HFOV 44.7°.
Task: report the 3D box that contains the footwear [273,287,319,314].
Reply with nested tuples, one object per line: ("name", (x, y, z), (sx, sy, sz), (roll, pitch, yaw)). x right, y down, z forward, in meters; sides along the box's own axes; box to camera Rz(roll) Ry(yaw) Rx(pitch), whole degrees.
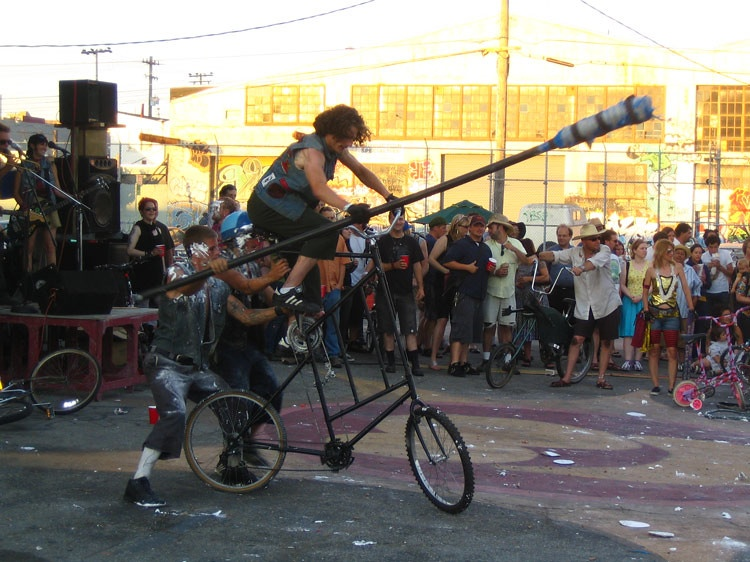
("footwear", (-0.610, 0.169, 7.685), (0.461, 0.224, 0.167), (10, 7, 9))

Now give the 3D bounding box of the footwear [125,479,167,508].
("footwear", (-1.793, 1.693, 7.280), (0.401, 0.195, 0.153), (2, -4, 20))

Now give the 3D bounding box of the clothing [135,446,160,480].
("clothing", (-1.849, 1.468, 7.360), (0.212, 0.270, 0.136), (1, 4, -9))

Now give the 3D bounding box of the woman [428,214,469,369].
("woman", (1.321, 0.189, 13.362), (0.700, 2.413, 0.751), (-9, -4, 8))

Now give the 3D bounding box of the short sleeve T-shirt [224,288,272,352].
("short sleeve T-shirt", (-1.121, 0.352, 7.919), (0.349, 0.666, 0.517), (3, 3, 30))

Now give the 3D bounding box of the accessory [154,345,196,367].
("accessory", (-1.673, 0.638, 7.542), (0.236, 0.075, 0.180), (23, -5, -3))

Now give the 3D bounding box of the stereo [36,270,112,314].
("stereo", (-3.485, 0.107, 10.678), (0.773, 0.541, 0.764), (1, 5, -27))

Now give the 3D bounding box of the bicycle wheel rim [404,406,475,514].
("bicycle wheel rim", (0.516, 1.425, 7.357), (0.710, 0.855, 0.232), (6, 6, 42))

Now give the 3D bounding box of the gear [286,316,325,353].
("gear", (-0.608, 0.439, 7.750), (0.317, 0.374, 0.145), (-1, 0, 13))

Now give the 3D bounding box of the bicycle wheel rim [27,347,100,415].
("bicycle wheel rim", (-3.436, 1.096, 10.092), (0.769, 0.829, 0.185), (-7, 25, -31))

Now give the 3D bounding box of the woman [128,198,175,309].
("woman", (-3.109, -0.216, 12.858), (0.592, 1.902, 0.552), (-5, 13, -39))

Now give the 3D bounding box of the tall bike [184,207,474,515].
("tall bike", (-0.353, 0.937, 7.511), (2.482, 1.676, 1.218), (1, -3, 20))

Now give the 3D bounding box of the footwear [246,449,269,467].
("footwear", (-0.991, 1.491, 7.688), (0.125, 0.038, 0.118), (20, 9, -22))

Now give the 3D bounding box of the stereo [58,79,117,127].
("stereo", (-4.452, -2.763, 14.102), (0.538, 0.708, 0.736), (3, 10, 18))

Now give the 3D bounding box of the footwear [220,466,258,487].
("footwear", (-1.154, 1.624, 7.693), (0.247, 0.126, 0.153), (14, -2, -14))

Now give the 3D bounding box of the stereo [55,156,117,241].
("stereo", (-4.249, -1.318, 13.771), (0.784, 1.046, 0.632), (7, 6, 35))

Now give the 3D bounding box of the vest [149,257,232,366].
("vest", (-1.609, 0.253, 7.788), (0.502, 0.855, 0.683), (5, -3, 34))

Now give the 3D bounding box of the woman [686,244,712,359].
("woman", (5.165, 0.280, 14.237), (0.505, 1.658, 0.344), (-8, -2, 22))

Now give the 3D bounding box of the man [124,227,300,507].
("man", (-1.287, 0.652, 7.613), (1.290, 2.236, 1.465), (-5, -6, 43))

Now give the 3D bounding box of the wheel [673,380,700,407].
("wheel", (3.856, 1.389, 11.210), (0.273, 0.309, 0.061), (-9, 2, 13))

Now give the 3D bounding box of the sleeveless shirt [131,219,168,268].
("sleeveless shirt", (-3.094, -0.457, 12.903), (0.679, 0.775, 0.367), (7, -13, -43))

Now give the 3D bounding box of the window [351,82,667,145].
("window", (4.438, -6.575, 35.432), (13.350, 3.086, 0.158), (6, -32, 25))
